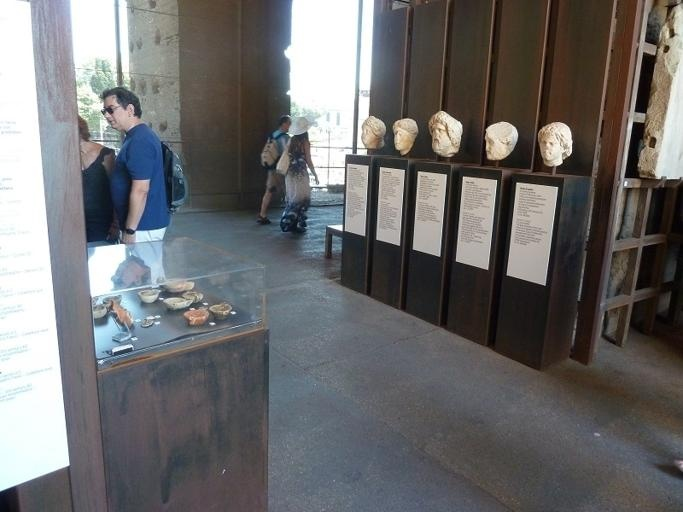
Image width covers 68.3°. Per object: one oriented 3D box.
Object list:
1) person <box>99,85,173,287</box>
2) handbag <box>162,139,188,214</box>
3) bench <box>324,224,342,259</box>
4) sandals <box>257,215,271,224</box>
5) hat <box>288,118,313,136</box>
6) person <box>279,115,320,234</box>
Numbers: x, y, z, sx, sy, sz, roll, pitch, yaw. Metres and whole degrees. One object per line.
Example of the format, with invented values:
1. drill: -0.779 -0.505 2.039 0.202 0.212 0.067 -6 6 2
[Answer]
1. person: -1.585 -0.654 3.869 0.396 1.196 0.498 -7 20 -21
2. handbag: -1.632 -0.726 4.852 0.301 0.588 0.409 -1 9 -14
3. bench: -0.149 -0.178 6.946 0.377 0.426 0.395 0 7 -8
4. sandals: -1.457 -0.664 9.278 0.279 0.126 0.127 -3 20 -17
5. hat: -0.715 -2.146 8.400 0.507 0.320 0.277 18 25 39
6. person: -0.739 -1.338 8.459 0.567 1.875 0.457 0 19 -3
